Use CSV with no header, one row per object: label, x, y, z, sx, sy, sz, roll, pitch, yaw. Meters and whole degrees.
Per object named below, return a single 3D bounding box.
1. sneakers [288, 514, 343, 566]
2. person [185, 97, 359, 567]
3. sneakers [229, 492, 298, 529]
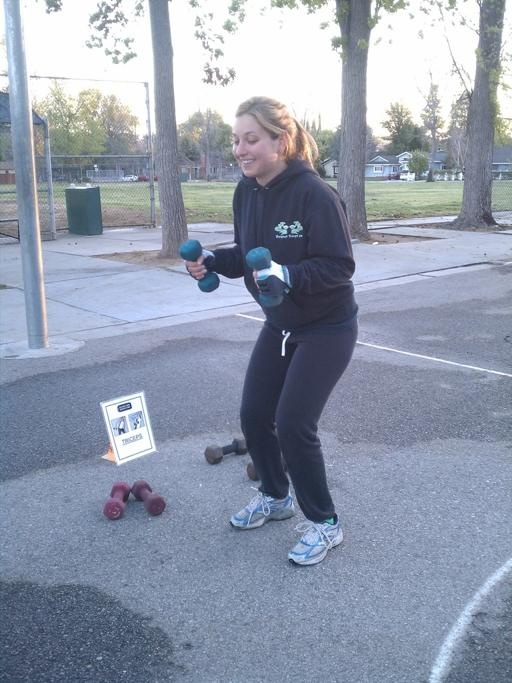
sneakers,0.271,0.891,2.517,0.139,0.119,0.276,1,14,44
person,0.158,0.001,2.343,0.570,1.984,0.808,-2,10,-3
sneakers,0.040,0.839,2.864,0.379,0.172,0.139,-7,2,-28
